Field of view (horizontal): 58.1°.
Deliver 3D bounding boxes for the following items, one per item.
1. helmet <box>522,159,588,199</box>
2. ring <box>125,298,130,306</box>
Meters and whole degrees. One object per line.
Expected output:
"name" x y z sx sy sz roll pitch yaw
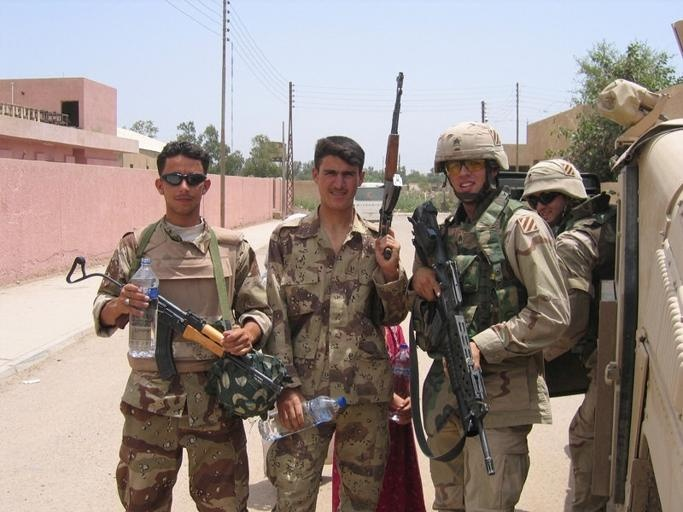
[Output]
"helmet" 1.520 -0.515 4.416 0.323 0.274 0.330 12 -16 -25
"ring" -1.132 0.237 3.234 0.019 0.031 0.007 2 1 5
